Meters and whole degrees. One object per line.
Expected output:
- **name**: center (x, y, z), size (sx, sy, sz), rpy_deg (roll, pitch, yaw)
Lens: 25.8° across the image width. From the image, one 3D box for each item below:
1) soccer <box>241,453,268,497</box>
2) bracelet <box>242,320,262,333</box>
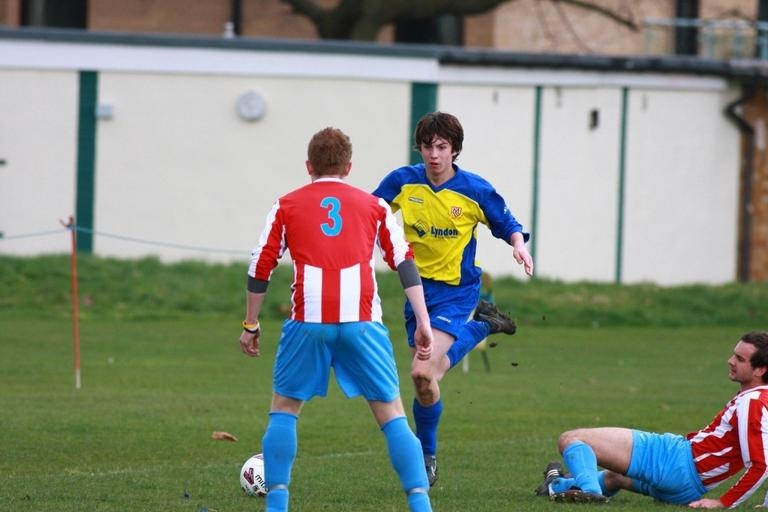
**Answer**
- **soccer**: center (-1.279, 2.125, 16.217), size (0.330, 0.294, 0.307), rpy_deg (16, 38, 11)
- **bracelet**: center (-1.295, 0.657, 15.826), size (0.110, 0.084, 0.144), rpy_deg (-1, 2, -25)
